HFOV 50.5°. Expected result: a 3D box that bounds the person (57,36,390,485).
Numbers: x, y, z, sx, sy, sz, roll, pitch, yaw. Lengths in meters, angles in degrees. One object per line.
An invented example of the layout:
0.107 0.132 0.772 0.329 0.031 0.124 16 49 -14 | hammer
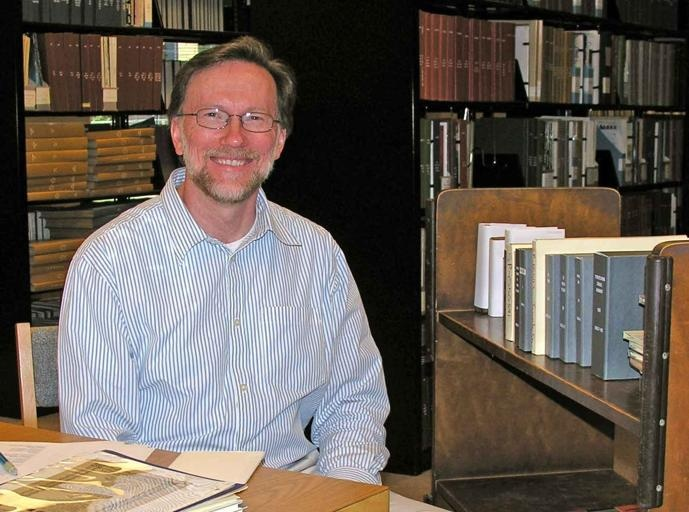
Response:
-0.299 -0.010 1.871 0.831 1.167 0.535 -4 4 -25 | person

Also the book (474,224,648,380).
0.614 0.078 2.167 0.438 0.451 0.318 -1 5 -27 | book
